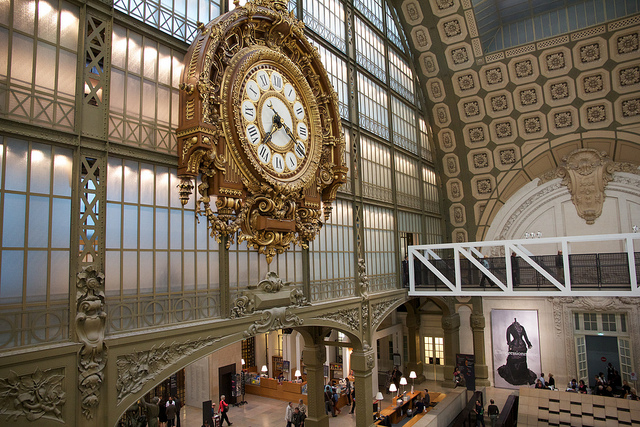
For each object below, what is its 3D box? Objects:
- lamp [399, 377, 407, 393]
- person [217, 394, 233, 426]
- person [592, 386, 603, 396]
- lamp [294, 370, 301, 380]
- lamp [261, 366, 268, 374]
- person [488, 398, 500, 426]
[{"bbox_3d":[4.307,8.935,26.085,0.395,0.453,0.414,0,-12,2],"label":"lamp"},{"bbox_3d":[-4.590,9.608,24.313,0.663,1.541,2.732,2,-12,-10],"label":"person"},{"bbox_3d":[13.555,8.684,24.387,0.371,0.478,1.684,-5,-13,25],"label":"person"},{"bbox_3d":[-1.261,9.113,27.887,0.379,0.646,0.374,0,-11,-1],"label":"lamp"},{"bbox_3d":[-3.155,9.171,28.967,0.356,0.563,0.350,1,-10,-4],"label":"lamp"},{"bbox_3d":[8.011,9.418,23.132,0.423,1.222,1.036,-3,-11,17],"label":"person"}]
